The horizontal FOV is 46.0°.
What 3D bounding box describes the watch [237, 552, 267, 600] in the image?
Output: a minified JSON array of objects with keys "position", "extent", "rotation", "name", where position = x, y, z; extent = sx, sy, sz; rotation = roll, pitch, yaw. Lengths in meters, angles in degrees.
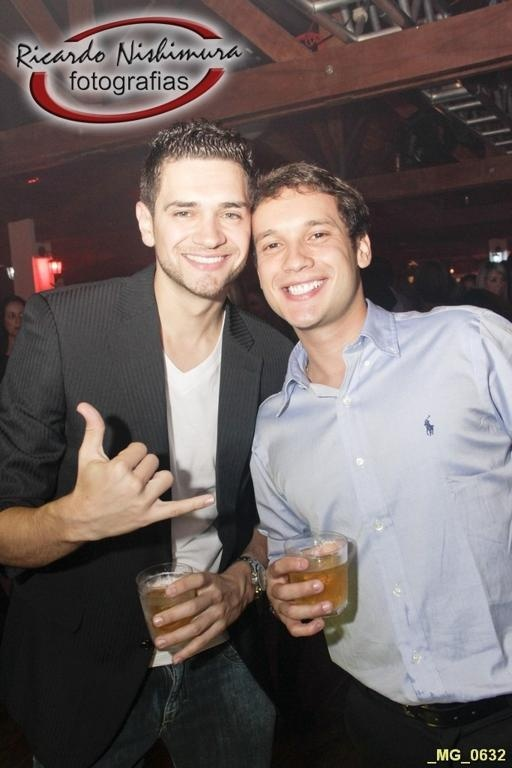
[{"position":[0.020,0.587,1.870],"extent":[0.114,0.102,0.105],"rotation":[20,61,18],"name":"watch"}]
